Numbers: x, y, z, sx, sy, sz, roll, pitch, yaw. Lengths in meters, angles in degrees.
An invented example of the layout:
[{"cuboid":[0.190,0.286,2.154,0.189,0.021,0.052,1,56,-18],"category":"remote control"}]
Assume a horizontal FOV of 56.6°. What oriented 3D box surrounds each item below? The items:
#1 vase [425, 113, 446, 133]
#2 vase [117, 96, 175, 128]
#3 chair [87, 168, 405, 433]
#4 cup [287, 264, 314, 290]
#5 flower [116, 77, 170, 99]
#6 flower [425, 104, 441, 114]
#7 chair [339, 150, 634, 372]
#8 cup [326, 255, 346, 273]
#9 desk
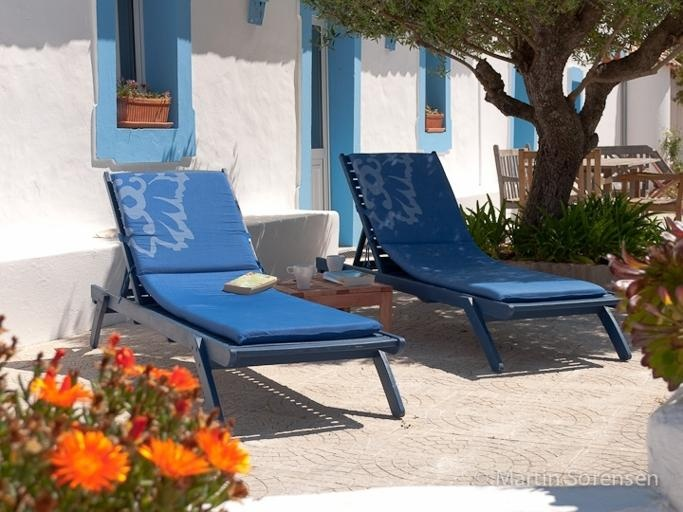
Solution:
[{"cuboid":[1.571,-2.232,10.763,0.473,0.245,0.418,0,-1,0],"category":"vase"},{"cuboid":[-1.936,-1.409,6.254,0.342,0.184,0.457,3,5,36],"category":"vase"},{"cuboid":[-0.758,0.135,4.330,1.259,1.079,2.219,-3,13,-36],"category":"chair"},{"cuboid":[-0.285,0.149,4.926,0.208,0.174,0.242,-1,2,-30],"category":"cup"},{"cuboid":[-2.007,-1.656,6.361,0.426,0.115,0.304,1,3,-29],"category":"flower"},{"cuboid":[1.540,-2.521,10.918,0.248,0.098,0.315,-1,5,-34],"category":"flower"},{"cuboid":[0.846,-0.187,5.406,1.530,1.345,2.704,-4,11,-31],"category":"chair"},{"cuboid":[-0.054,0.064,5.377,0.156,0.103,0.137,-7,11,-34],"category":"cup"},{"cuboid":[-0.006,0.291,4.881,0.577,0.350,0.544,-3,8,-24],"category":"desk"}]
